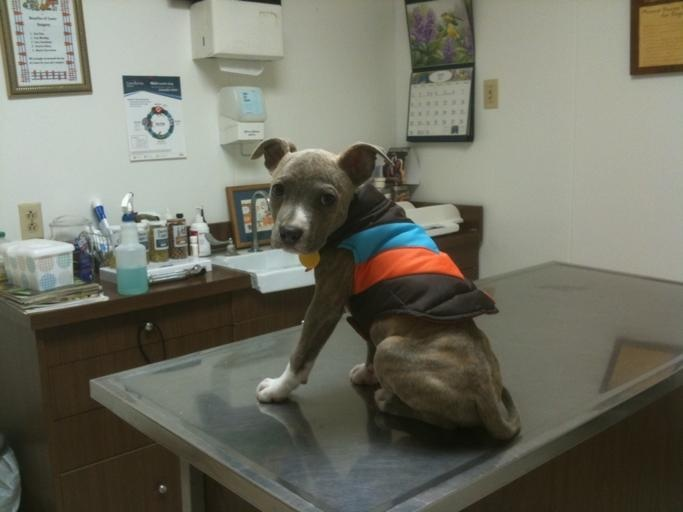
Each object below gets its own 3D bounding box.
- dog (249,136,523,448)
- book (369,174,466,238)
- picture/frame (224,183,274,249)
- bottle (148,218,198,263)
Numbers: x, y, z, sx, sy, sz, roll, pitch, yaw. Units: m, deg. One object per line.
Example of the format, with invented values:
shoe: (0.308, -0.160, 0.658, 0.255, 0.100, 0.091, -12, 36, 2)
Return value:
dog: (0.079, 0.061, 1.246, 0.574, 0.630, 0.368, 2, 8, -12)
book: (0.479, -0.265, 3.245, 0.412, 0.160, 0.396, -8, 30, -33)
picture/frame: (-0.484, -0.194, 2.756, 0.325, 0.414, 0.026, -4, -5, -41)
bottle: (-0.761, -0.068, 2.442, 0.167, 0.192, 0.176, 0, 5, -12)
